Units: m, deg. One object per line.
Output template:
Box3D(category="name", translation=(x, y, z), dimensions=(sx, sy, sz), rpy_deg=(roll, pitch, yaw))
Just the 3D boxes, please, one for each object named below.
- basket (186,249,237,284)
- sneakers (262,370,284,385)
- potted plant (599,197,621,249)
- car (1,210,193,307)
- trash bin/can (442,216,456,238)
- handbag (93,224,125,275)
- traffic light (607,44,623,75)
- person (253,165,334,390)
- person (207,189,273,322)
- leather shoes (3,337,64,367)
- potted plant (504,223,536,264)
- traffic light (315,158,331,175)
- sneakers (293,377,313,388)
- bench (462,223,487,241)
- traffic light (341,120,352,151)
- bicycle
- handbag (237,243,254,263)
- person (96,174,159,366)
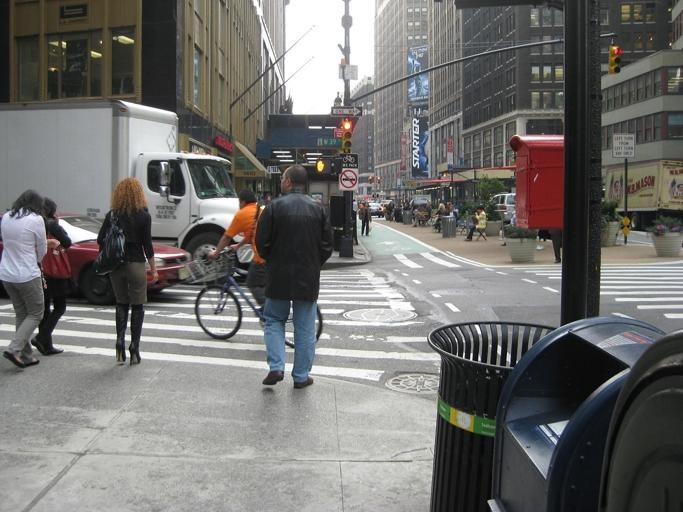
Box3D(category="basket", translation=(-1.803, 0.177, 9.388), dimensions=(0.543, 0.285, 0.449), rpy_deg=(-22, 5, -16))
Box3D(category="sneakers", translation=(-0.698, 1.233, 6.890), dimensions=(0.091, 0.140, 0.292), rpy_deg=(6, -9, -28))
Box3D(category="potted plant", translation=(9.933, -1.210, 25.192), dimensions=(0.639, 1.659, 2.853), rpy_deg=(2, 5, 22))
Box3D(category="car", translation=(-3.616, 0.096, 12.773), dimensions=(3.971, 1.666, 1.871), rpy_deg=(1, -1, 5))
Box3D(category="trash bin/can", translation=(5.229, -1.451, 33.756), dimensions=(0.786, 1.393, 0.876), rpy_deg=(-1, 1, 5))
Box3D(category="handbag", translation=(-2.651, -0.134, 7.899), dimensions=(0.263, 0.780, 0.349), rpy_deg=(-3, -30, -3))
Box3D(category="traffic light", translation=(6.831, -4.926, 17.100), dimensions=(0.259, 0.781, 1.004), rpy_deg=(2, 5, 19))
Box3D(category="person", translation=(-0.471, 0.197, 7.021), dimensions=(0.703, 2.284, 0.702), rpy_deg=(2, 4, 23))
Box3D(category="person", translation=(-1.345, -0.047, 9.187), dimensions=(0.727, 1.711, 0.918), rpy_deg=(-13, 16, -41))
Box3D(category="leather shoes", translation=(-3.592, 1.146, 7.995), dimensions=(0.156, 0.245, 0.534), rpy_deg=(6, 12, 27))
Box3D(category="potted plant", translation=(5.359, -0.361, 20.856), dimensions=(0.999, 1.445, 0.932), rpy_deg=(0, -2, -2))
Box3D(category="traffic light", translation=(-0.588, -2.857, 22.199), dimensions=(0.475, 0.623, 0.508), rpy_deg=(7, 12, 18))
Box3D(category="sneakers", translation=(-0.403, 1.302, 7.025), dimensions=(0.074, 0.096, 0.212), rpy_deg=(7, 14, 28))
Box3D(category="bench", translation=(6.130, -1.112, 31.193), dimensions=(0.890, 1.387, 1.053), rpy_deg=(-2, 2, 10))
Box3D(category="traffic light", translation=(0.154, -3.813, 21.422), dimensions=(0.358, 1.110, 0.612), rpy_deg=(0, 4, 0))
Box3D(category="bicycle", translation=(-1.386, 0.619, 9.906), dimensions=(0.758, 1.351, 1.883), rpy_deg=(-26, -24, 31))
Box3D(category="handbag", translation=(-1.385, -0.027, 9.729), dimensions=(0.205, 0.326, 0.260), rpy_deg=(2, 15, -16))
Box3D(category="person", translation=(-2.510, 0.169, 7.966), dimensions=(0.640, 2.158, 0.607), rpy_deg=(-1, 4, -22))
